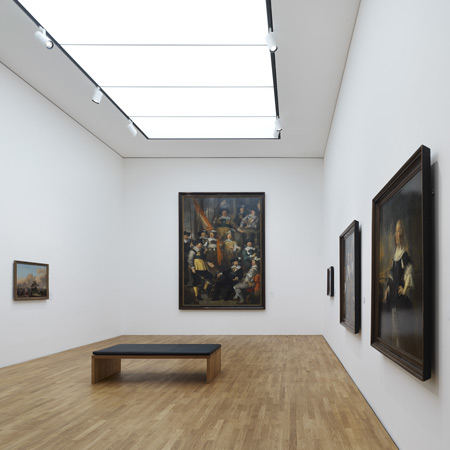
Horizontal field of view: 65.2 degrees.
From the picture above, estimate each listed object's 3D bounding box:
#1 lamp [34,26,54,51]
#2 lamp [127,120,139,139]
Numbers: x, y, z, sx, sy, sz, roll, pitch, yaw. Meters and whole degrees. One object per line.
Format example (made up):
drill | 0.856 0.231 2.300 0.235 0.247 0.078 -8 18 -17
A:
lamp | -4.850 -4.994 9.449 0.336 0.745 0.145 -17 15 -6
lamp | -4.109 -4.283 15.614 0.091 0.562 0.390 -6 28 10
